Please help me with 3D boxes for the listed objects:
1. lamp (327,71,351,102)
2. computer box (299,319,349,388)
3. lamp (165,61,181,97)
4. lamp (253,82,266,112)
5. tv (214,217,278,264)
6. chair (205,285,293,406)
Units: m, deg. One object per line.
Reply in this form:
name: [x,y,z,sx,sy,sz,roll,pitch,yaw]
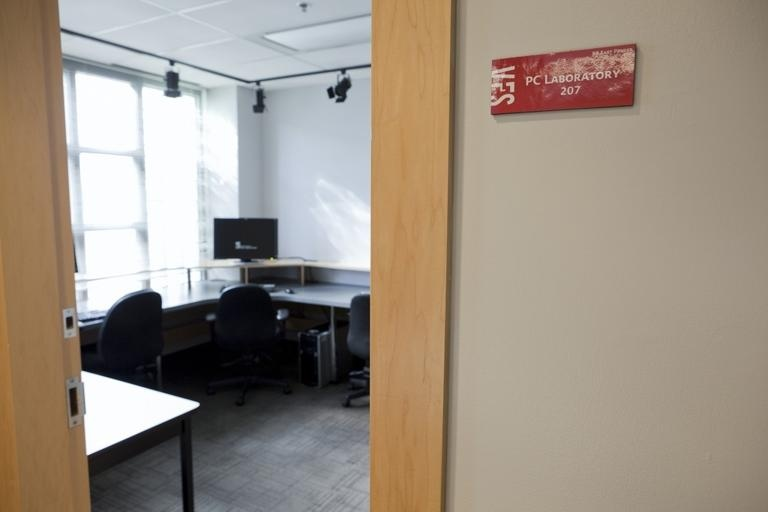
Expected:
lamp: [-0.390,-1.467,4.901,0.095,0.267,0.188,26,19,23]
computer box: [-0.470,0.755,4.572,0.263,0.429,0.446,10,15,29]
lamp: [-1.725,-1.479,4.592,0.141,0.348,0.101,-4,14,-44]
lamp: [-1.209,-1.536,5.482,0.120,0.261,0.370,-3,10,-10]
tv: [-1.233,-0.154,5.032,0.397,0.282,0.102,1,10,-5]
chair: [-1.084,0.572,4.410,0.625,0.893,0.980,-4,11,-17]
